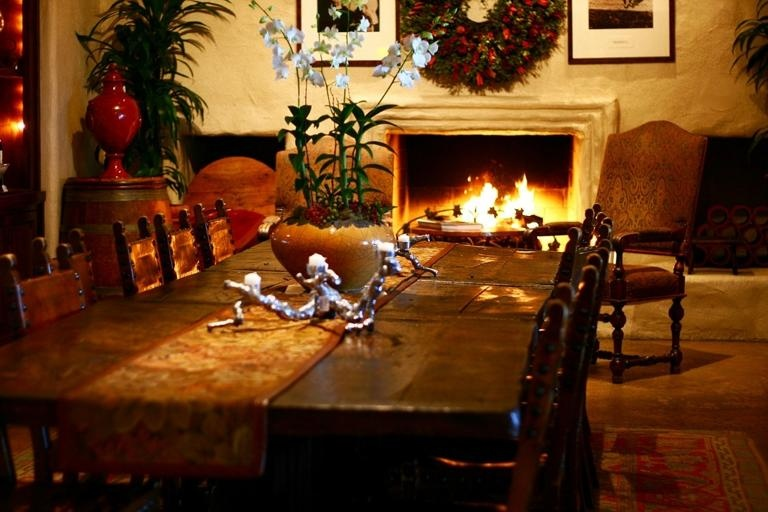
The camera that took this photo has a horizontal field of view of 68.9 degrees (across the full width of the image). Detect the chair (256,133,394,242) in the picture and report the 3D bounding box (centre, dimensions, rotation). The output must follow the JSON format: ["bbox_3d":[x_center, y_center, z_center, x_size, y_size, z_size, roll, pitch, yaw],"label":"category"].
[{"bbox_3d":[-0.345,-0.437,3.923,0.730,0.797,0.776,-1,3,-8],"label":"chair"}]

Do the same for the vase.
[{"bbox_3d":[-1.971,-0.961,4.062,0.361,0.750,0.243,-4,10,-15],"label":"vase"}]

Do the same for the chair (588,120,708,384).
[{"bbox_3d":[1.951,-0.003,3.894,0.706,1.608,0.888,18,-7,-24],"label":"chair"}]

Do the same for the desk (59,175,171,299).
[{"bbox_3d":[-2.033,-0.149,4.180,0.821,0.905,0.840,7,9,27],"label":"desk"}]
